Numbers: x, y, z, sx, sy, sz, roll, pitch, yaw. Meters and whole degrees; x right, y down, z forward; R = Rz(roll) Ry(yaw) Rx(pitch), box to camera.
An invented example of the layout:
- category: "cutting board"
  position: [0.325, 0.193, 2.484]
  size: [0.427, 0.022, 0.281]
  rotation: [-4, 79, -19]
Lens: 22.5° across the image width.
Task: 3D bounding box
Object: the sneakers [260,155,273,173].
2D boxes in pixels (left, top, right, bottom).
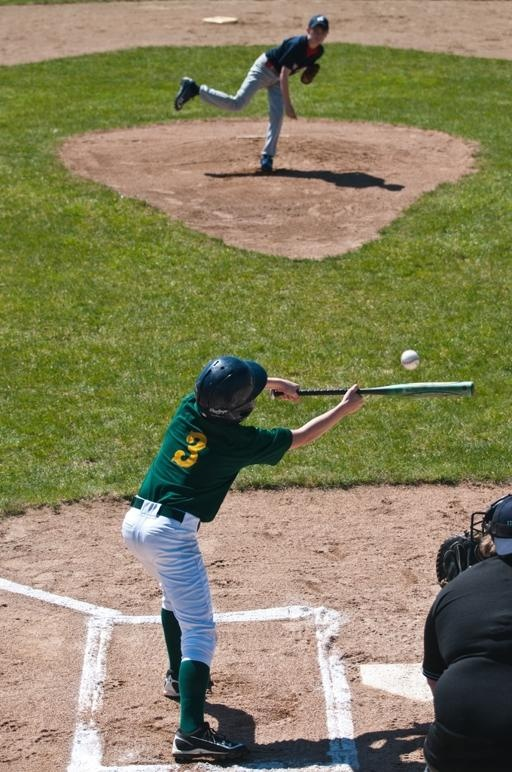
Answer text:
- category: "sneakers"
  position: [0.111, -2.546, 15.316]
  size: [0.082, 0.104, 0.246]
  rotation: [0, -20, -2]

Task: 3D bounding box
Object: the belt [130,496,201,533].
- category: "belt"
  position: [-0.502, 0.694, 6.978]
  size: [0.230, 0.069, 0.213]
  rotation: [26, -6, -15]

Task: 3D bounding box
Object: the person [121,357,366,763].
- category: "person"
  position: [-0.296, 0.881, 7.091]
  size: [0.815, 1.963, 1.130]
  rotation: [10, 20, 24]

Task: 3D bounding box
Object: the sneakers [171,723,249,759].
- category: "sneakers"
  position: [-0.219, 1.905, 6.954]
  size: [0.486, 0.239, 0.162]
  rotation: [2, 11, -8]

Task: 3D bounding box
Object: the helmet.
- category: "helmet"
  position: [-0.130, -0.001, 7.008]
  size: [0.286, 0.393, 0.205]
  rotation: [27, -26, 23]

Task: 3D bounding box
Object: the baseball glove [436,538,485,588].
- category: "baseball glove"
  position: [1.127, 0.992, 7.190]
  size: [0.083, 0.273, 0.270]
  rotation: [32, 11, -36]
